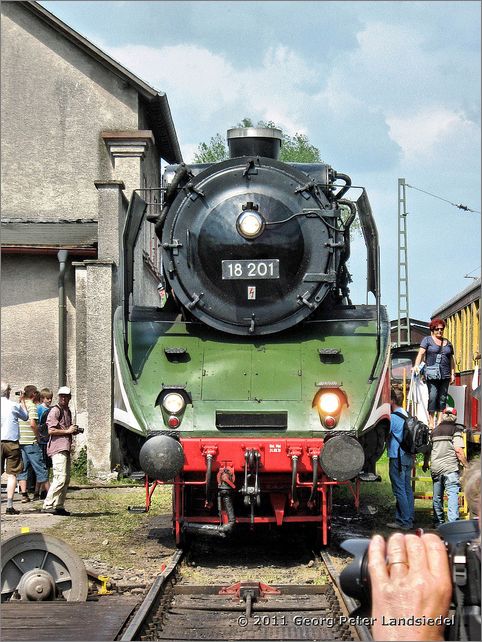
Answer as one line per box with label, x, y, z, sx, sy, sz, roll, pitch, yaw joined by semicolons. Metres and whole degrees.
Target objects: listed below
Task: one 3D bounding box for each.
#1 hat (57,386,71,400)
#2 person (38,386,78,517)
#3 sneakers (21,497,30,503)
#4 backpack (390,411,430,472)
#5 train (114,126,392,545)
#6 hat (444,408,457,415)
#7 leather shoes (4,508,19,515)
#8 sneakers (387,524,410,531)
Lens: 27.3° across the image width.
hat;-1.991;0.804;11.166;0.129;0.114;0.208;2;-4;1
person;-2.018;1.442;11.043;0.382;1.407;0.536;1;-1;-11
sneakers;-2.667;2.212;12.241;0.054;0.064;0.143;1;-14;-3
backpack;1.673;1.119;9.912;0.311;0.414;0.435;4;-2;-28
train;0.087;0.160;8.336;2.312;3.432;1.775;1;-1;2
hat;2.176;0.946;10.426;0.170;0.088;0.273;3;-7;15
leather shoes;-2.532;2.106;10.965;0.065;0.076;0.181;2;1;17
sneakers;1.543;2.053;9.786;0.200;0.085;0.067;6;-4;24
